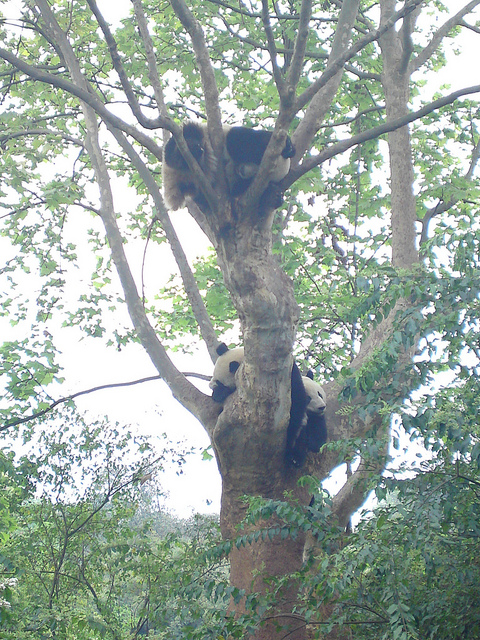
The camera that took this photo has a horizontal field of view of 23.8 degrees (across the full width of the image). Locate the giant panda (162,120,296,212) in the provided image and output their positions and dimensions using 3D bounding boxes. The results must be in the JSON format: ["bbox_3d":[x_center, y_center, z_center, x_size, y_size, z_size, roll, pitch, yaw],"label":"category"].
[{"bbox_3d":[-0.229,-1.391,10.133,1.515,1.039,0.938,0,7,4],"label":"giant panda"}]

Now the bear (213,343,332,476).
[{"bbox_3d":[0.250,0.808,9.728,0.866,0.635,0.476,42,-51,14],"label":"bear"}]
